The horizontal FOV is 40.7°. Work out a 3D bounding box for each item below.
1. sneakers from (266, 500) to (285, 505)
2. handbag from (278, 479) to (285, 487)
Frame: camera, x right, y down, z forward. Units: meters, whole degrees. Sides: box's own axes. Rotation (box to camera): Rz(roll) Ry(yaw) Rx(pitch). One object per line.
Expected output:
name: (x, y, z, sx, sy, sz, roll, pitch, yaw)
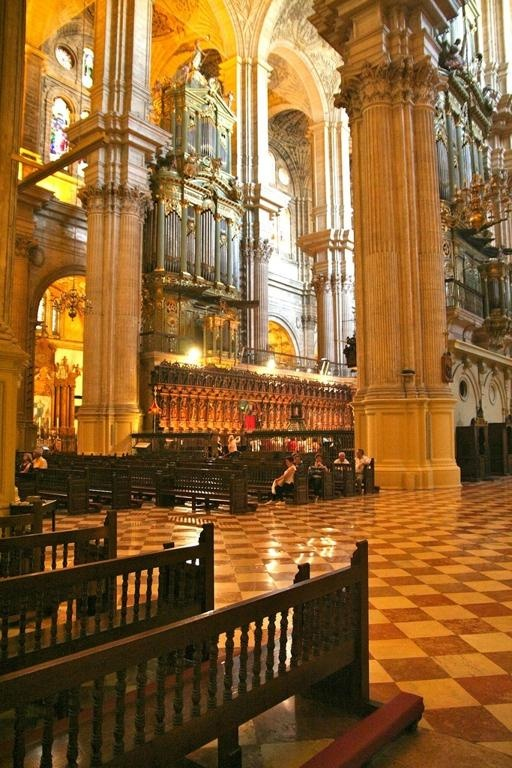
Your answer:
sneakers: (0.292, 1.808, 10.382, 0.269, 0.111, 0.092, 4, -15, -11)
handbag: (0.375, 1.503, 10.510, 0.116, 0.121, 0.297, -2, -4, 2)
